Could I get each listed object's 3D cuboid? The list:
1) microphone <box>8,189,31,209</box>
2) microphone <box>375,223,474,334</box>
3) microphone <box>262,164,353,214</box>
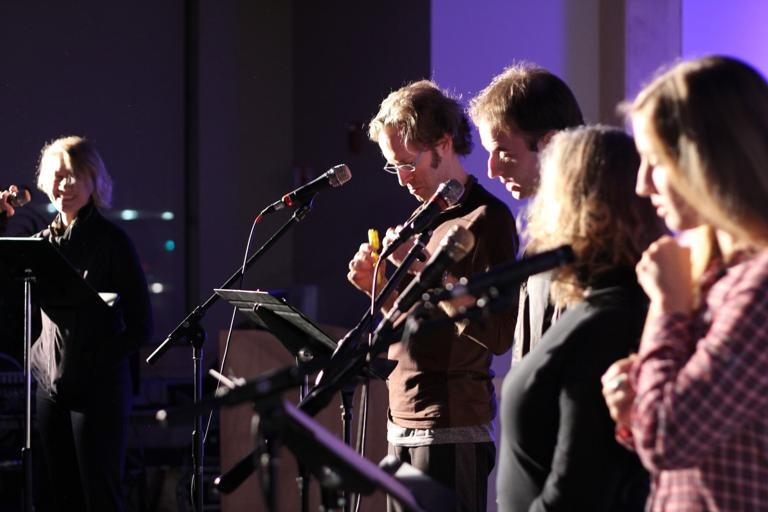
[{"bbox_3d":[-1.902,-0.306,4.908,0.234,0.074,0.060,-2,-24,37],"label":"microphone"},{"bbox_3d":[0.155,0.085,3.463,0.128,0.124,0.473,24,-63,-33],"label":"microphone"},{"bbox_3d":[-0.395,-0.369,5.139,0.516,0.148,0.136,-29,-58,13],"label":"microphone"}]
